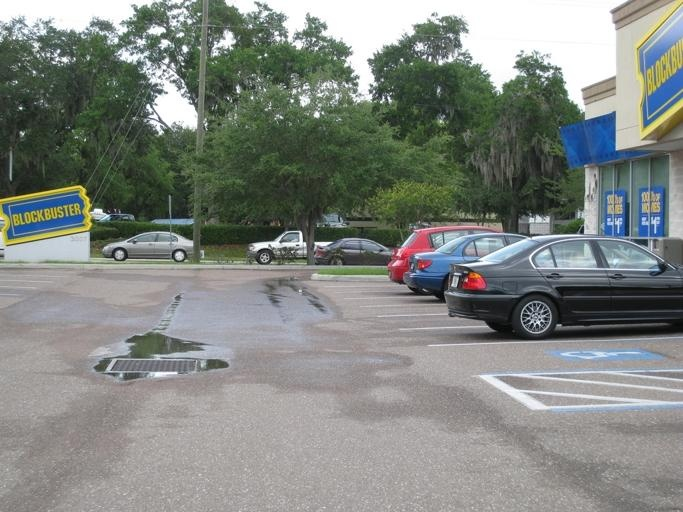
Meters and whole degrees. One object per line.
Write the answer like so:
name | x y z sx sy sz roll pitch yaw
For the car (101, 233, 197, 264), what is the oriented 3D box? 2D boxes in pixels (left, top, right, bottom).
car | -12.415 -0.556 37.322 5.355 1.581 2.192 3 -1 -7

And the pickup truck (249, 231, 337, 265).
pickup truck | -3.979 -0.488 36.504 4.976 1.863 2.380 1 -1 -22

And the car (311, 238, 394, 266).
car | 0.709 -0.206 32.873 4.081 1.307 1.692 -2 4 -6

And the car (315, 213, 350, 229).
car | -0.719 -3.831 64.612 2.062 1.600 3.298 0 -4 -39
